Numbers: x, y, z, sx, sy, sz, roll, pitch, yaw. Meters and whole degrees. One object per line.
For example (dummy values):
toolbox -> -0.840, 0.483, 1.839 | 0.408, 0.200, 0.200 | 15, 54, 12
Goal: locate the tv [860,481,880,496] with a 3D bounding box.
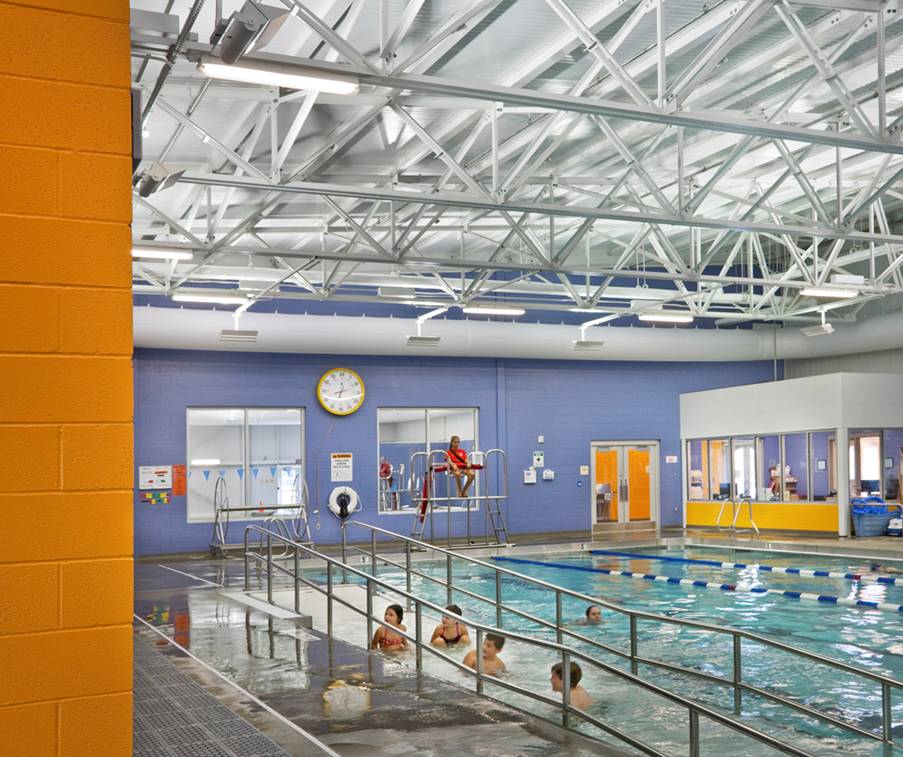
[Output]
tv -> 11.132, 2.921, 20.562 | 0.521, 0.353, 0.094 | 1, 4, 18

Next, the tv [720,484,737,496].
tv -> 8.206, 3.311, 22.868 | 0.245, 0.351, 0.425 | 6, -8, -32

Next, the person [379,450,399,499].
person -> -1.779, 2.949, 22.157 | 0.457, 1.403, 0.779 | -2, -7, -4

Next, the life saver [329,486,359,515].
life saver -> -2.777, 3.223, 20.335 | 0.831, 0.780, 0.352 | 0, -7, -17
